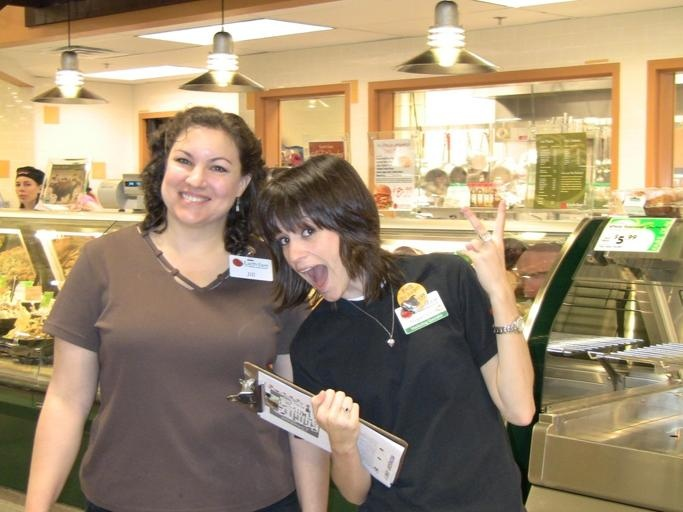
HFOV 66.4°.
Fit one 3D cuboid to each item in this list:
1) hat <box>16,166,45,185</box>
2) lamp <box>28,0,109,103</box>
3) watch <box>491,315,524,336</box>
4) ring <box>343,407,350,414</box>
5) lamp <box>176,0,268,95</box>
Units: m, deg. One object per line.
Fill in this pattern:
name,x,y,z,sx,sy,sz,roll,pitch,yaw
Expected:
hat,-3.236,-0.868,5.480,0.263,0.109,0.283,-2,-1,-14
lamp,-2.473,-1.601,4.683,0.587,0.526,0.513,-6,7,-33
watch,0.375,0.152,1.159,0.049,0.020,0.049,-8,4,-12
ring,0.012,0.329,1.107,0.012,0.006,0.012,2,-8,0
lamp,-0.913,-1.568,4.150,0.644,0.575,0.649,4,6,45
